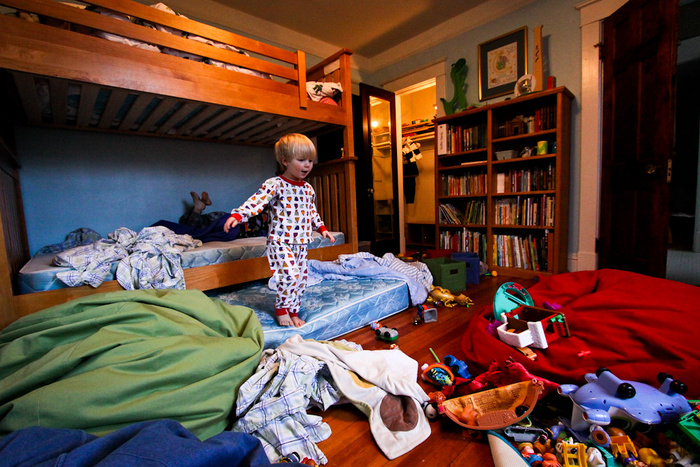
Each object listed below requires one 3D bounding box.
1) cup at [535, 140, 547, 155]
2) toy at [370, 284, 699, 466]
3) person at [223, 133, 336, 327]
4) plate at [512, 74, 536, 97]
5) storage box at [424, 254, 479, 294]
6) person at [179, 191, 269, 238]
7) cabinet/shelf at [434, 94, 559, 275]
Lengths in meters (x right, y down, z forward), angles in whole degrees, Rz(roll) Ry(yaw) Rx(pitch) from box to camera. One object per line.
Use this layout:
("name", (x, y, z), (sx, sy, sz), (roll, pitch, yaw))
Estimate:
("cup", (1.867, -0.836, 4.261), (0.112, 0.147, 0.161), (-1, 2, 24))
("toy", (0.944, 0.591, 2.826), (1.259, 0.311, 1.177), (-20, 17, -11))
("person", (-0.476, -0.036, 3.155), (0.803, 1.358, 0.365), (-2, 2, -24))
("plate", (1.707, -1.465, 4.297), (0.178, 0.213, 0.082), (-1, 2, 22))
("storage box", (0.955, 0.371, 4.095), (0.392, 0.221, 0.389), (-12, 14, -43))
("person", (-1.347, -0.147, 4.240), (0.771, 0.264, 0.557), (5, 9, 34))
("cabinet/shelf", (1.577, -0.473, 4.613), (1.345, 1.792, 0.385), (0, 2, 41))
